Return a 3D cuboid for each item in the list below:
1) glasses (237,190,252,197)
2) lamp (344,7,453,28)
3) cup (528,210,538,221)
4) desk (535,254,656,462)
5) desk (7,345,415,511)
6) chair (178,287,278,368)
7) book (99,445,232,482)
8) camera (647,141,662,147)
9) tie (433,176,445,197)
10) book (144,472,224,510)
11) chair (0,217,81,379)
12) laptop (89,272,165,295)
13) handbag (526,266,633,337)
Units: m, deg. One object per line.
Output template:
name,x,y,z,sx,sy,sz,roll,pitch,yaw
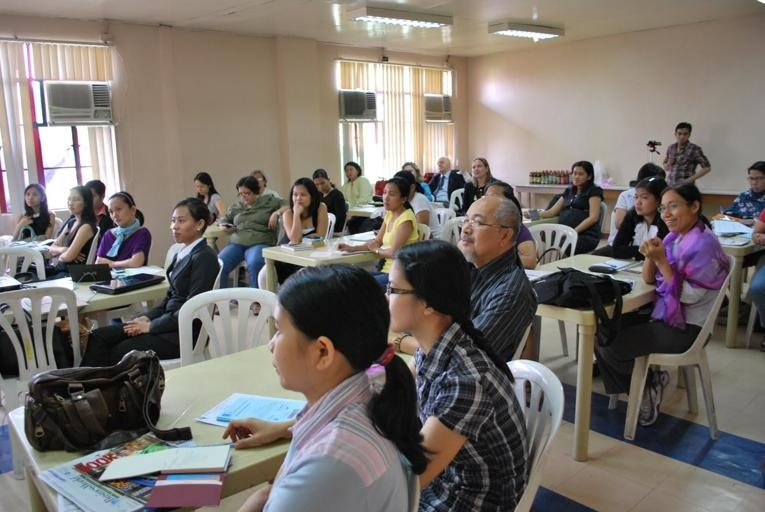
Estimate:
glasses,-1.596,-0.738,6.301,0.107,0.037,0.111,4,-7,42
lamp,0.262,-3.069,6.868,1.399,0.135,0.461,-9,11,-35
cup,1.681,-0.452,5.890,0.109,0.114,0.107,-3,10,1
desk,1.231,0.585,3.718,0.983,1.018,1.318,4,9,42
desk,-0.601,0.629,1.928,0.939,0.473,0.645,-11,13,-42
chair,-0.900,0.406,3.057,0.430,0.599,0.434,-12,20,-42
book,-0.769,0.742,1.926,0.269,0.041,0.169,-5,15,0
camera,4.135,-1.668,8.120,0.138,0.130,0.390,1,9,33
tie,0.981,-1.120,8.768,0.107,0.313,0.227,16,-5,-37
book,-0.674,0.807,1.836,0.144,0.036,0.143,1,15,-13
chair,-2.140,0.418,3.474,0.404,0.655,0.452,-16,28,-41
laptop,-1.811,0.199,3.778,0.336,0.065,0.592,5,9,29
handbag,1.189,0.186,3.191,0.443,0.168,0.438,-15,18,-42
